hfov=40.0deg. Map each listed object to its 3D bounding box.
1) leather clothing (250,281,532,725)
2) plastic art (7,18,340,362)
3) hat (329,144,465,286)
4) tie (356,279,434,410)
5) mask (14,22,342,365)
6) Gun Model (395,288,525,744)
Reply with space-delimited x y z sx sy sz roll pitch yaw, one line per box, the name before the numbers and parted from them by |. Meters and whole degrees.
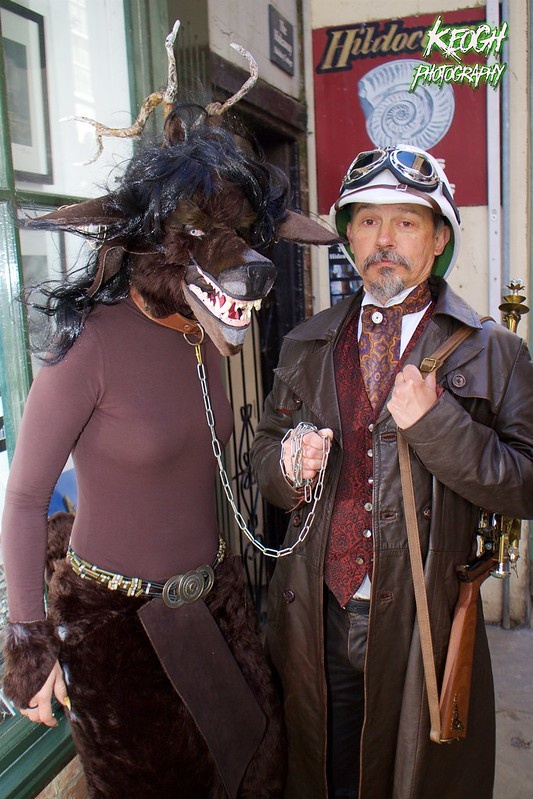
leather clothing | 0.434 0.315 1.793 0.591 0.947 0.111 -5 -16 28
plastic art | -0.178 -0.425 1.644 0.690 0.619 0.518 -7 19 -32
hat | 0.370 -0.553 2.057 0.335 0.271 0.369 13 1 16
tie | 0.367 -0.143 2.048 0.199 0.345 0.090 -6 -18 43
mask | -0.183 -0.428 1.629 0.689 0.665 0.500 -10 21 -34
Gun Model | 0.540 0.335 1.862 0.530 1.052 0.223 -9 11 -33
